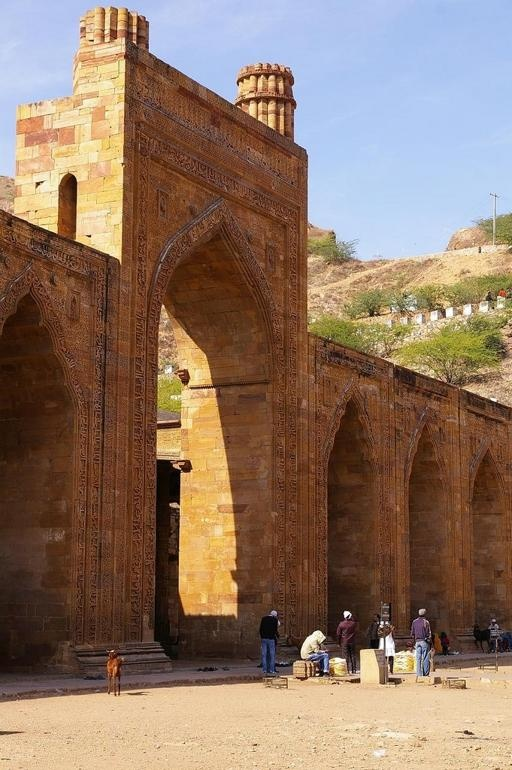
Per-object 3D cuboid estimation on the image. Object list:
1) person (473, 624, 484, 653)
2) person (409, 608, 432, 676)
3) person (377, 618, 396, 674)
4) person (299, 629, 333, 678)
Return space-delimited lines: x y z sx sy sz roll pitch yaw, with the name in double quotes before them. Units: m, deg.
"person" 4.608 5.304 25.638 0.203 0.548 0.795 -3 -11 9
"person" 2.240 3.472 16.399 0.242 0.900 0.296 4 -10 -34
"person" 1.777 3.671 16.921 0.262 0.806 0.221 -6 -42 14
"person" 0.736 3.413 15.536 0.348 0.539 1.054 -2 -11 3
